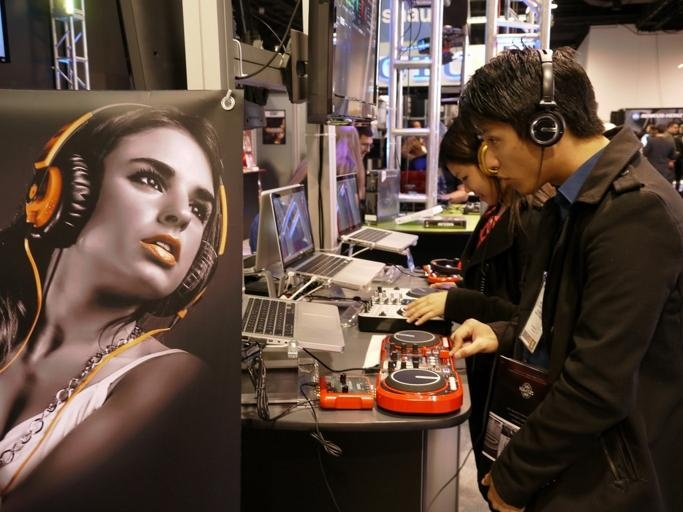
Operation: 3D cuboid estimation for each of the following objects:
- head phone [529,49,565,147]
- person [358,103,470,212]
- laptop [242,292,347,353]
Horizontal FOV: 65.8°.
[{"bbox_3d":[0.507,-0.380,1.300,0.089,0.225,0.227,1,17,20],"label":"head phone"},{"bbox_3d":[0.855,-0.851,5.242,1.248,1.209,1.044,0,7,-2],"label":"person"},{"bbox_3d":[-0.144,0.207,1.620,0.208,0.057,0.288,2,11,-5],"label":"laptop"}]
